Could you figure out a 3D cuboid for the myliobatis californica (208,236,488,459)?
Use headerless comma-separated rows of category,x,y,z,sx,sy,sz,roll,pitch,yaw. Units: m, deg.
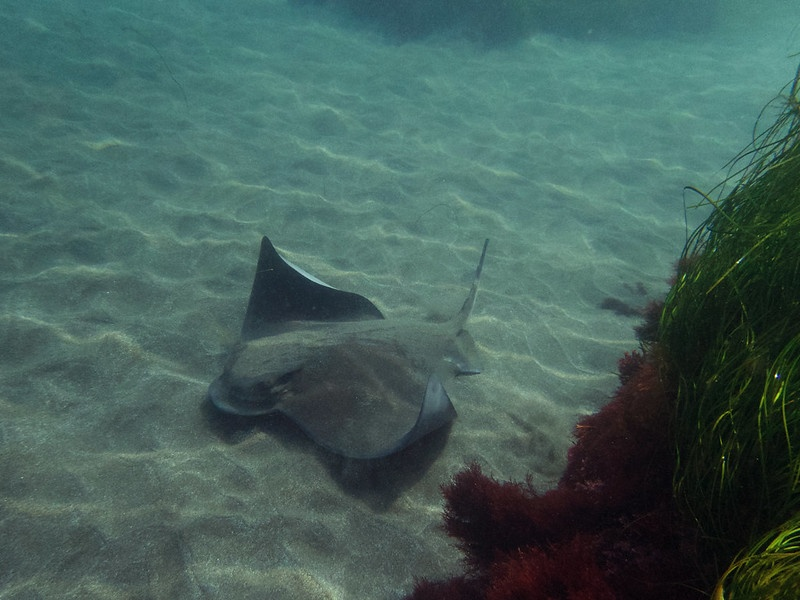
myliobatis californica,-0.575,0.718,10.325,2.403,1.099,2.515,-16,54,-37
